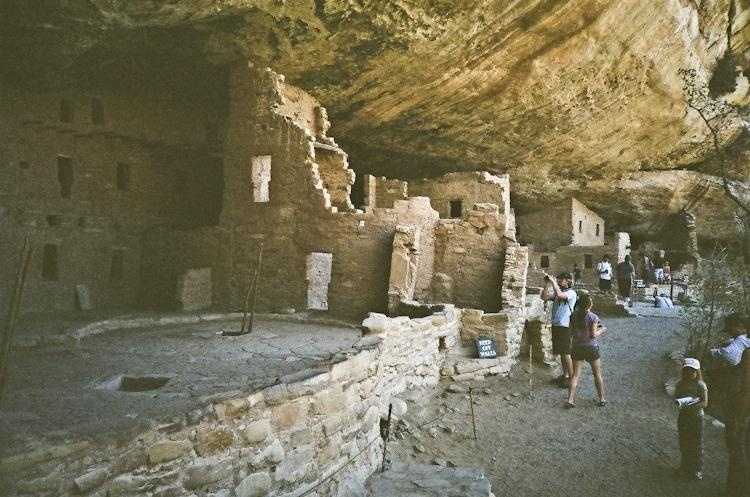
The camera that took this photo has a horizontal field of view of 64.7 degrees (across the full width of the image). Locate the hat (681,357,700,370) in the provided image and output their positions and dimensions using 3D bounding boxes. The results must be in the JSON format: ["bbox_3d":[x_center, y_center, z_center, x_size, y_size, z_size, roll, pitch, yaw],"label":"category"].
[{"bbox_3d":[4.639,1.666,8.649,0.230,0.175,0.315,-3,-26,40],"label":"hat"}]

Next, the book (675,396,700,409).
[{"bbox_3d":[4.516,2.238,8.589,0.310,0.231,0.147,2,11,1],"label":"book"}]

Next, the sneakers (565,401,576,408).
[{"bbox_3d":[3.425,2.737,10.365,0.169,0.109,0.091,-6,4,-12],"label":"sneakers"}]

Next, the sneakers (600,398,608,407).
[{"bbox_3d":[3.930,2.650,10.130,0.093,0.065,0.170,-17,-12,5],"label":"sneakers"}]

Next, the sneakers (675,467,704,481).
[{"bbox_3d":[4.590,3.296,8.605,0.241,0.148,0.056,2,7,22],"label":"sneakers"}]

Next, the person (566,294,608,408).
[{"bbox_3d":[3.820,1.741,10.515,0.694,2.002,1.011,6,12,20],"label":"person"}]
